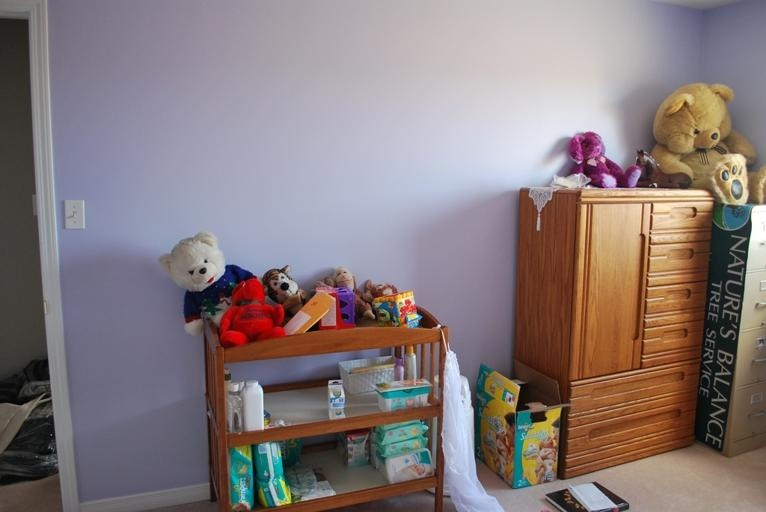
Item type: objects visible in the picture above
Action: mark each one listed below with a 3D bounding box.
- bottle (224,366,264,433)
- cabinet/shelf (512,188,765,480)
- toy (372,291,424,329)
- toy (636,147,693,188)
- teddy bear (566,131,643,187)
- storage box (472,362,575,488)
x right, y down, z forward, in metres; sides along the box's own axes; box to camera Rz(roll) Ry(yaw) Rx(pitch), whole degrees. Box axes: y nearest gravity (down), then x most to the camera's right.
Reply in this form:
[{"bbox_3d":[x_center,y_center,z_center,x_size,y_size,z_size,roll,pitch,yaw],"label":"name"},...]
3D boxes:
[{"bbox_3d":[-0.716,0.730,2.708,0.196,0.321,0.136,-7,9,-18],"label":"bottle"},{"bbox_3d":[1.528,0.438,3.415,1.255,1.806,0.424,-6,8,-7],"label":"cabinet/shelf"},{"bbox_3d":[0.080,0.303,2.959,0.258,0.253,0.191,-7,11,-4],"label":"toy"},{"bbox_3d":[1.910,-0.584,3.559,0.329,0.269,0.262,0,9,30],"label":"toy"},{"bbox_3d":[1.531,-0.649,3.561,0.462,0.397,0.298,-8,9,-27],"label":"teddy bear"},{"bbox_3d":[0.886,1.071,3.263,0.395,0.722,0.645,-1,9,-22],"label":"storage box"}]
